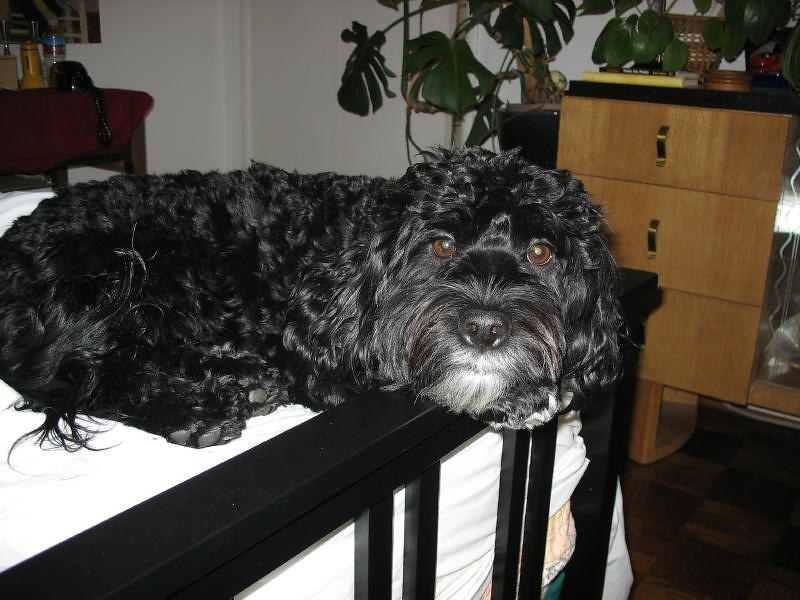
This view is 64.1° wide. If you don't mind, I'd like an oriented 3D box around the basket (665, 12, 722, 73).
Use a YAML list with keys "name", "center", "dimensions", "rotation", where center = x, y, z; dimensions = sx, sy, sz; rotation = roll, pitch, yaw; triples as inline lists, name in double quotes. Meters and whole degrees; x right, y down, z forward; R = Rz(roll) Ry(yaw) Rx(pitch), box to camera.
- name: "basket"
  center: [1.329, -1.163, 2.891]
  dimensions: [0.237, 0.271, 0.392]
  rotation: [8, 18, 24]

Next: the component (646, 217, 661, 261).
- name: "component"
  center: [1.032, -0.252, 2.602]
  dimensions: [0.044, 0.187, 0.117]
  rotation: [1, 20, 18]

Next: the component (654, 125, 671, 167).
- name: "component"
  center: [1.029, -0.601, 2.513]
  dimensions: [0.045, 0.160, 0.035]
  rotation: [9, 19, 29]

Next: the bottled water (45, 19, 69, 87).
- name: "bottled water"
  center: [-2.194, -1.557, 4.057]
  dimensions: [0.120, 0.447, 0.096]
  rotation: [-2, 9, -30]

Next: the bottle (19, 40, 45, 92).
- name: "bottle"
  center: [-2.135, -1.346, 3.691]
  dimensions: [0.131, 0.253, 0.339]
  rotation: [-8, 19, -27]
